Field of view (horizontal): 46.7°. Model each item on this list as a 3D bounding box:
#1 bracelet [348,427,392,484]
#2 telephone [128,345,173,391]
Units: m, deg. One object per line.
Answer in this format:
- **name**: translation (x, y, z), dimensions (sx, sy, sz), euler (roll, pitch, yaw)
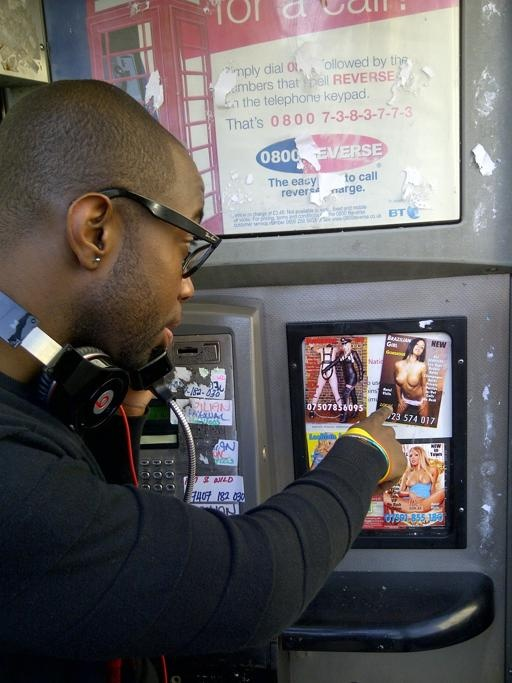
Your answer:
- **bracelet**: translation (0.170, 0.171, 0.862), dimensions (0.081, 0.029, 0.061), euler (40, 14, -24)
- **telephone**: translation (-0.182, 0.046, 1.005), dimensions (0.069, 0.062, 0.117), euler (-20, 3, 3)
